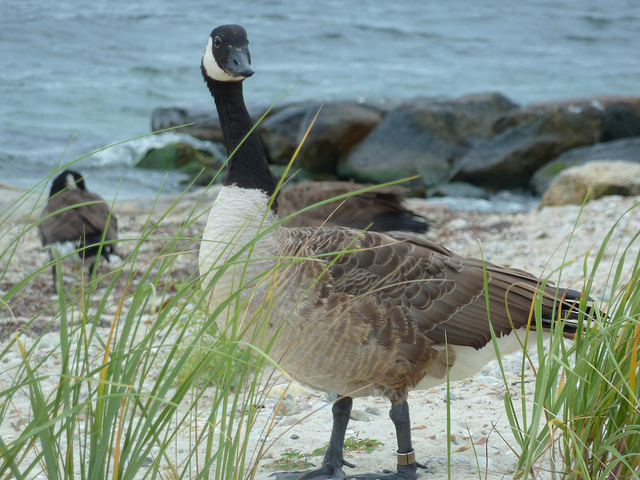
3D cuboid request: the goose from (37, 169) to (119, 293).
[{"bbox_3d":[-3.379,-0.220,14.017,1.519,1.774,2.855,-3,-8,-6],"label":"goose"}]
